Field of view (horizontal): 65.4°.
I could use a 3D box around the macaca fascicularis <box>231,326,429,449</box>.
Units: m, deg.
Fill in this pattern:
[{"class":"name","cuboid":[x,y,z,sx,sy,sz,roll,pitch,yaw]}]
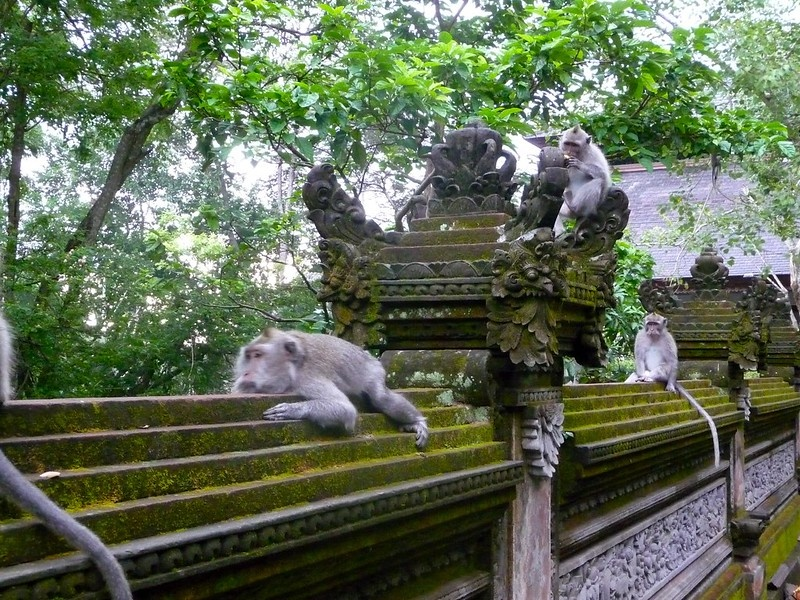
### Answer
[{"class":"macaca fascicularis","cuboid":[-0.291,0.394,2.748,0.783,0.540,0.634,2,-5,-29]}]
